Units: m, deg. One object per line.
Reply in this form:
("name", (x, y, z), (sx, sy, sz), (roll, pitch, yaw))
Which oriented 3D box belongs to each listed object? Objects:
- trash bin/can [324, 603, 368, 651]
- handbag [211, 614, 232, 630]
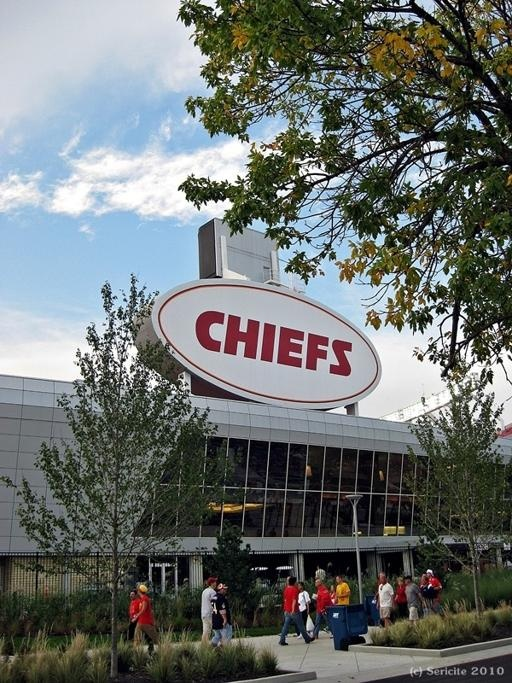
("trash bin/can", (2.222, 6.880, 15.606), (0.951, 0.933, 0.915), (-2, -21, -7))
("handbag", (-0.711, 5.468, 12.617), (0.304, 0.306, 0.263), (-2, -14, -5))
